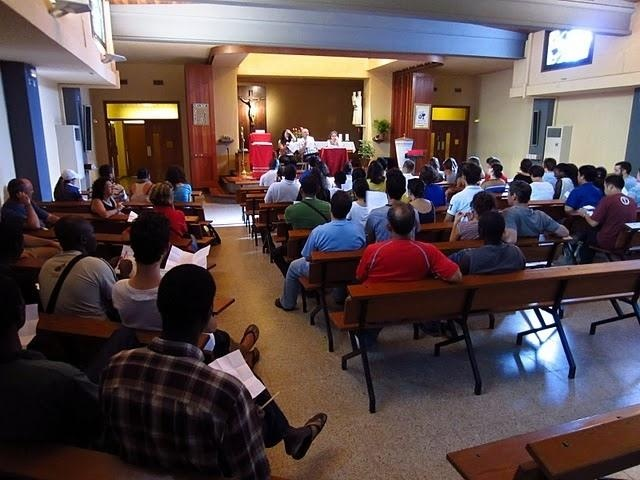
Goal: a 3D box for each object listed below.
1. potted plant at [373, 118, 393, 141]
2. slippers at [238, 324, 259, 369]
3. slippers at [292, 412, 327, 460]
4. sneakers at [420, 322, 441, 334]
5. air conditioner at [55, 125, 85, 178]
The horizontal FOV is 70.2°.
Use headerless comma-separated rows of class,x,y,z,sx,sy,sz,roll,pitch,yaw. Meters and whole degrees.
potted plant,2.068,-3.537,14.767,0.638,0.772,0.703,-6,15,-15
slippers,-0.557,0.863,3.682,0.114,0.148,0.379,-2,30,-1
slippers,-0.066,1.169,2.759,0.124,0.083,0.343,-38,-3,20
sneakers,0.912,0.725,3.740,0.129,0.056,0.128,6,-9,-32
air conditioner,-5.146,-1.864,9.501,0.340,1.090,1.063,-3,17,-18
